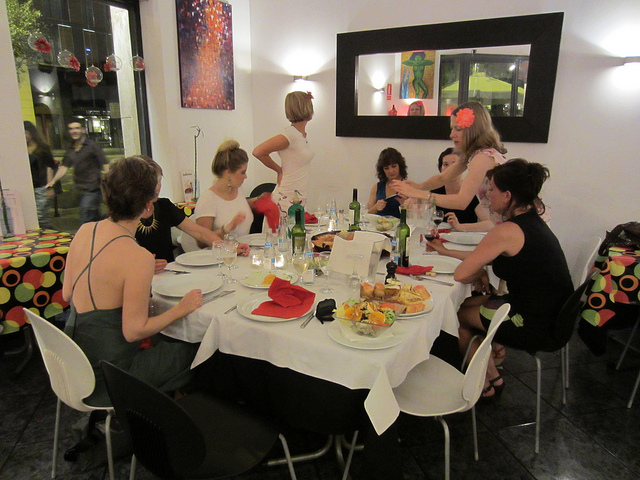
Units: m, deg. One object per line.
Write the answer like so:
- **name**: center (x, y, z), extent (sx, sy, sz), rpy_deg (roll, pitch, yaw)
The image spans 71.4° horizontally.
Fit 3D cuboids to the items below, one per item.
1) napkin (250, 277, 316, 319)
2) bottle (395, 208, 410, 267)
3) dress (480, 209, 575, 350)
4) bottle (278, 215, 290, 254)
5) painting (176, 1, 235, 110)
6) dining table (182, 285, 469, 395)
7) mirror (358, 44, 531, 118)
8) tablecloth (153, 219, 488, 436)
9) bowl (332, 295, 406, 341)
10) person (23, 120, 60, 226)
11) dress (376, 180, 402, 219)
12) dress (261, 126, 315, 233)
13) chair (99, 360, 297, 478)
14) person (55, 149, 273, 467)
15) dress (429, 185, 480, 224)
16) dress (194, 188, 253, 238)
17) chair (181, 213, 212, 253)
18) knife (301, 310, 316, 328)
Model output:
- **napkin**: center (-0.162, 0.286, 2.191), extent (0.194, 0.082, 0.214), rpy_deg (9, 34, 23)
- **bottle**: center (0.524, -0.038, 2.803), extent (0.089, 0.321, 0.347), rpy_deg (3, 18, 9)
- **dress**: center (1.264, 0.261, 2.844), extent (0.479, 0.834, 0.654), rpy_deg (-4, 5, -32)
- **bottle**: center (-0.244, -0.047, 2.976), extent (0.075, 0.209, 0.265), rpy_deg (-2, 18, -5)
- **painting**: center (-1.318, -2.143, 5.139), extent (0.119, 1.191, 0.847), rpy_deg (11, 21, 30)
- **dining table**: center (0.039, 0.494, 2.078), extent (1.413, 0.251, 0.543), rpy_deg (-2, 19, -7)
- **mirror**: center (1.236, -1.666, 4.699), extent (1.749, 0.694, 0.100), rpy_deg (9, 20, 25)
- **tablecloth**: center (-0.071, 0.448, 2.508), extent (1.668, 0.493, 1.112), rpy_deg (7, 20, 20)
- **bowl**: center (0.196, 0.352, 2.043), extent (0.258, 0.126, 0.224), rpy_deg (17, 25, 41)
- **person**: center (-2.550, -0.625, 4.032), extent (0.208, 0.888, 0.337), rpy_deg (0, 18, 1)
- **dress**: center (0.636, -0.414, 4.346), extent (0.197, 0.308, 0.395), rpy_deg (-4, 19, -12)
- **dress**: center (-0.310, -0.498, 4.241), extent (0.421, 1.487, 0.626), rpy_deg (-1, 42, -6)
- **chair**: center (-0.522, 0.709, 1.906), extent (0.551, 0.529, 0.469), rpy_deg (10, 21, 28)
- **person**: center (-0.929, 0.403, 2.533), extent (0.618, 1.643, 0.907), rpy_deg (21, 21, 36)
- **dress**: center (1.084, -0.286, 3.558), extent (0.347, 0.370, 0.199), rpy_deg (2, 7, 37)
- **dress**: center (-0.704, -0.190, 3.253), extent (0.187, 0.341, 0.341), rpy_deg (8, 18, 25)
- **chair**: center (-0.889, -0.054, 3.215), extent (0.213, 0.299, 0.208), rpy_deg (3, 21, 4)
- **knife**: center (-0.056, 0.372, 2.129), extent (0.021, 0.020, 0.133), rpy_deg (8, 22, 14)
